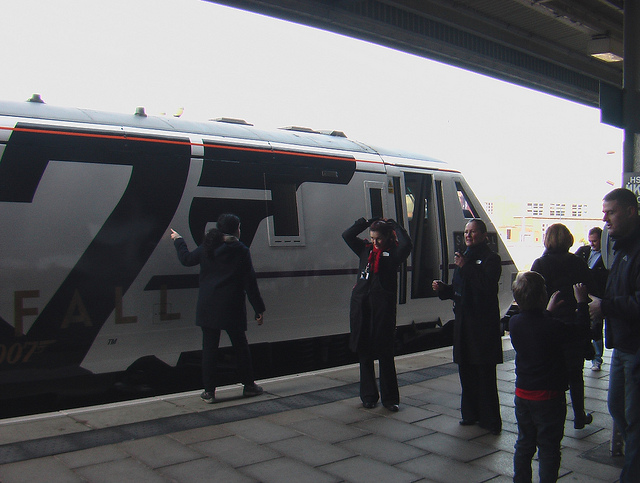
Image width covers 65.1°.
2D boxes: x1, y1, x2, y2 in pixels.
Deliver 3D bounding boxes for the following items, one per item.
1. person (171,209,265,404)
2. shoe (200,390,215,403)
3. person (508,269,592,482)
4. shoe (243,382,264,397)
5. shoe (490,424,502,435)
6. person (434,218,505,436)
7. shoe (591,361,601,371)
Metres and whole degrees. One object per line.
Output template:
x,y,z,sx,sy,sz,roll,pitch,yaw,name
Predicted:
-1.251,0.833,6.343,1.070,2.352,0.562,0,1,-9,person
-1.377,1.915,6.177,0.078,0.106,0.218,2,1,-21,shoe
2.024,1.171,4.432,0.640,1.824,1.328,1,1,27,person
-0.876,1.938,6.566,0.266,0.143,0.118,-1,1,-30,shoe
1.852,1.979,5.280,0.146,0.111,0.049,-2,8,-42,shoe
1.660,0.900,5.443,0.628,2.252,0.371,1,1,20,person
4.230,1.922,7.681,0.184,0.091,0.063,7,-3,-37,shoe
